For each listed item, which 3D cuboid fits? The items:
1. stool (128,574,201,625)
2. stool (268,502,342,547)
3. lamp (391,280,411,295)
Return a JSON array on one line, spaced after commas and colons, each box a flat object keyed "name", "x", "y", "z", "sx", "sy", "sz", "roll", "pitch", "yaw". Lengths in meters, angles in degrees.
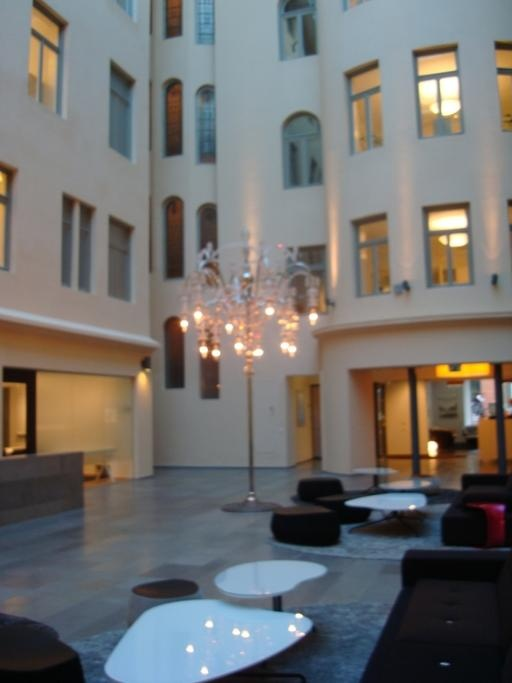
[{"name": "stool", "x": -0.591, "y": 1.628, "z": 3.864, "sx": 0.361, "sy": 0.419, "sz": 0.369, "roll": 14, "pitch": -26, "yaw": -32}, {"name": "stool", "x": 0.586, "y": 2.250, "z": 7.250, "sx": 0.825, "sy": 0.396, "sz": 0.314, "roll": -5, "pitch": -4, "yaw": 28}, {"name": "lamp", "x": 3.248, "y": -1.231, "z": 13.339, "sx": 0.385, "sy": 0.334, "sz": 0.268, "roll": -4, "pitch": -4, "yaw": 13}]
